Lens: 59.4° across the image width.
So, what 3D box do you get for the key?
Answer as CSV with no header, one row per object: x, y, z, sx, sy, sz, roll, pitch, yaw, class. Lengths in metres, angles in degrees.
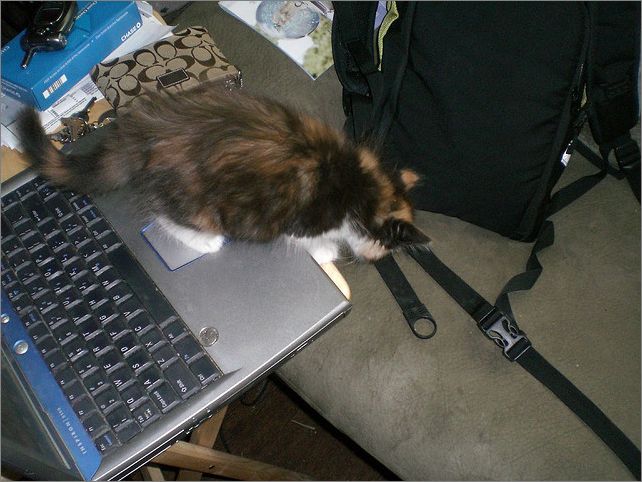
-0.544,-0.265,1.245,0.092,0.059,0.112,-13,48,-19,key

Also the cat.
-0.231,-0.140,1.171,0.323,0.212,0.214,20,78,6,cat
